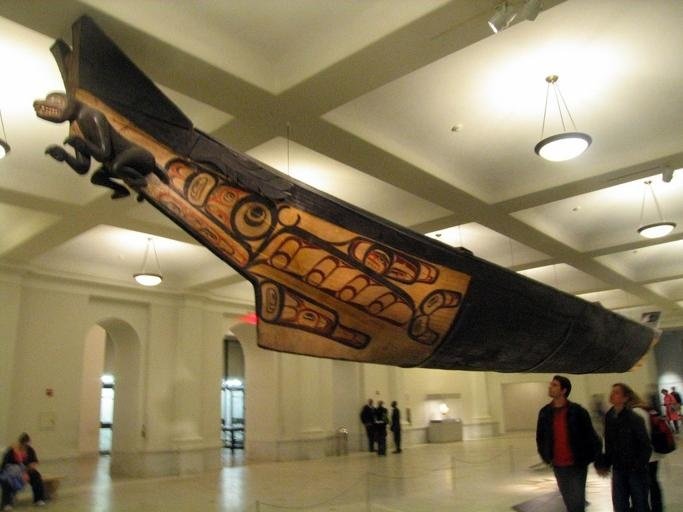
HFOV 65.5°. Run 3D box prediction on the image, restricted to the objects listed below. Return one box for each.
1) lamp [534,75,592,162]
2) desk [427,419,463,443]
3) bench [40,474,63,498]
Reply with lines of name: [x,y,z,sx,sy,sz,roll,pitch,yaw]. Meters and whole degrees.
lamp: [2.890,-1.685,6.986,0.633,0.971,1.250,-9,-16,23]
desk: [2.625,4.354,13.187,1.183,0.581,0.285,10,-20,-38]
bench: [-5.023,4.054,9.281,0.294,0.340,0.387,-25,-23,21]
